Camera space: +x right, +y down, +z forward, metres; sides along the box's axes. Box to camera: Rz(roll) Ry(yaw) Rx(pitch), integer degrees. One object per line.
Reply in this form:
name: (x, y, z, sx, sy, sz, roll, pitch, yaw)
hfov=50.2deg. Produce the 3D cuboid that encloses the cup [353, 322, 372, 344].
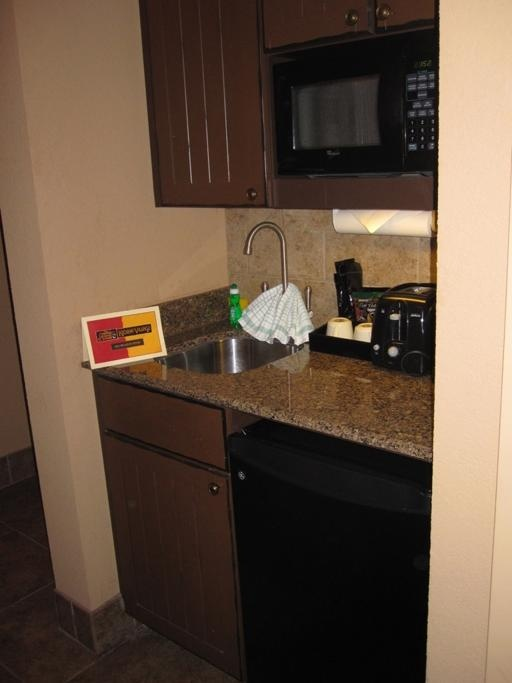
cup: (0.318, -0.029, 1.614, 0.046, 0.053, 0.049, 0, 15, 0)

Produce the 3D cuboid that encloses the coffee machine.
coffee machine: (0.382, -0.024, 1.394, 0.142, 0.217, 0.205, 5, 10, 40)

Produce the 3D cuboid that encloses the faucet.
faucet: (0.085, -0.244, 1.855, 0.214, 0.321, 0.426, -1, 14, 4)

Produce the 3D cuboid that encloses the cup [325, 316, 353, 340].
cup: (0.254, -0.037, 1.647, 0.061, 0.069, 0.063, -4, 16, 1)

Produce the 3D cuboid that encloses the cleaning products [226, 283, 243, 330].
cleaning products: (-0.075, -0.136, 2.035, 0.042, 0.166, 0.045, 19, 32, 37)

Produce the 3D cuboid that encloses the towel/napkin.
towel/napkin: (0.112, -0.090, 1.877, 0.172, 0.183, 0.336, 6, 14, 14)
